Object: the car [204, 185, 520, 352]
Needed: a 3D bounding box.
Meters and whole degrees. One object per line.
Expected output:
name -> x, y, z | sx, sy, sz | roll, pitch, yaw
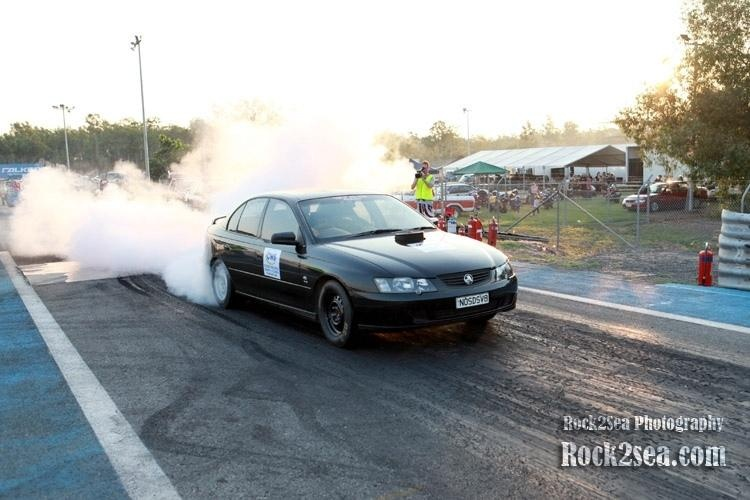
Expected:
car -> -0.595, 0.187, 6.567 | 2.126, 1.509, 4.379 | -4, 7, -42
